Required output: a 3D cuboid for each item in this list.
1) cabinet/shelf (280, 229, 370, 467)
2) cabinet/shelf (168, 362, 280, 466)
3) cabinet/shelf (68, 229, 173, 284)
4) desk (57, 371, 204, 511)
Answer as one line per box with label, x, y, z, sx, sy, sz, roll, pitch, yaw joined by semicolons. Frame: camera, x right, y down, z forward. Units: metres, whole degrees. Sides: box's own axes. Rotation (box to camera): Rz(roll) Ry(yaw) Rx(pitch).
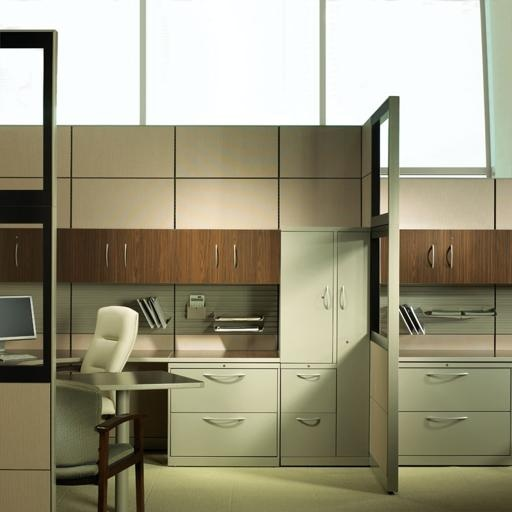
cabinet/shelf;0.573;0.769;4.895;0.732;1.924;0.393;0;7;8
cabinet/shelf;-0.258;1.188;5.228;1.126;1.181;0.723;0;-4;1
cabinet/shelf;-1.191;-0.003;5.029;0.966;0.465;0.121;-1;7;2
desk;-0.830;1.116;3.897;0.869;1.021;0.963;0;-6;-8
